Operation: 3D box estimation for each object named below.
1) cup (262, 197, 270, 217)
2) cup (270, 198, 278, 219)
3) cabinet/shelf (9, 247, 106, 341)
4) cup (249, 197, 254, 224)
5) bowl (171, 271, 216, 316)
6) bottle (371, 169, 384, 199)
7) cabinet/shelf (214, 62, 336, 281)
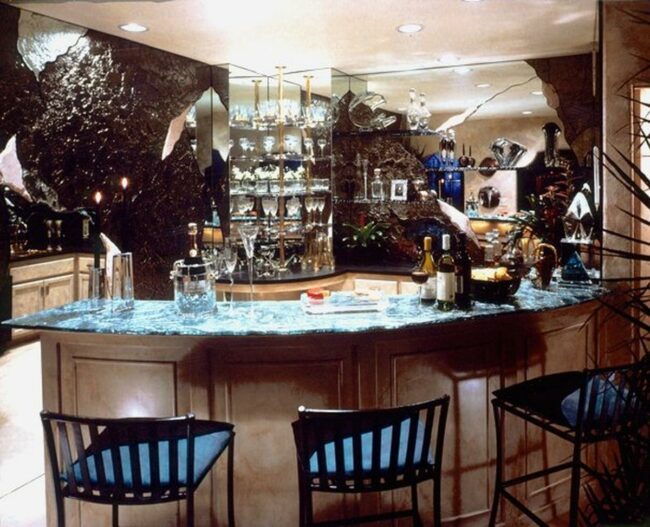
[{"bbox_3d":[-0.522,-0.507,5.110,0.066,0.163,0.267,-3,3,-6],"label":"cup"},{"bbox_3d":[-0.458,-0.509,5.144,0.081,0.172,0.316,-3,3,-5],"label":"cup"},{"bbox_3d":[-1.930,0.198,4.035,0.400,0.529,0.776,1,4,11],"label":"cabinet/shelf"},{"bbox_3d":[-0.657,-0.477,5.204,0.059,0.232,0.119,-3,3,-3],"label":"cup"},{"bbox_3d":[-0.605,0.141,2.649,0.176,0.222,0.190,1,10,0],"label":"bowl"},{"bbox_3d":[0.491,-0.731,5.344,0.114,0.295,0.048,-2,3,7],"label":"bottle"},{"bbox_3d":[-0.393,-0.847,5.206,0.996,1.889,0.612,-3,3,-11],"label":"cabinet/shelf"}]
